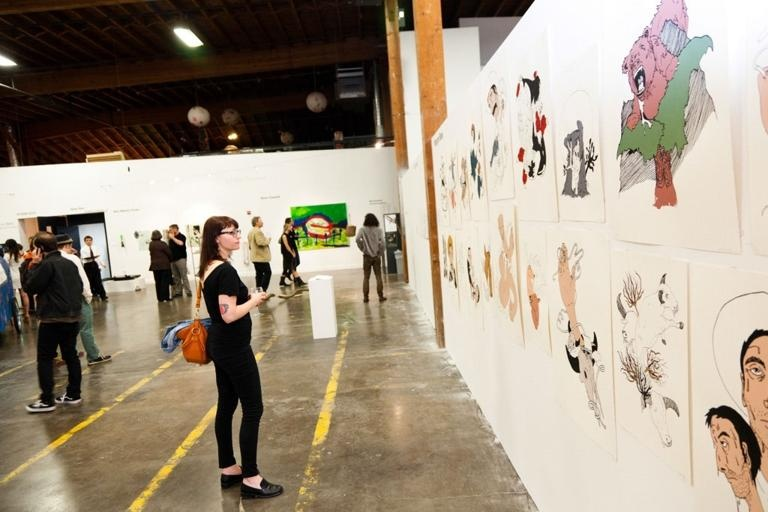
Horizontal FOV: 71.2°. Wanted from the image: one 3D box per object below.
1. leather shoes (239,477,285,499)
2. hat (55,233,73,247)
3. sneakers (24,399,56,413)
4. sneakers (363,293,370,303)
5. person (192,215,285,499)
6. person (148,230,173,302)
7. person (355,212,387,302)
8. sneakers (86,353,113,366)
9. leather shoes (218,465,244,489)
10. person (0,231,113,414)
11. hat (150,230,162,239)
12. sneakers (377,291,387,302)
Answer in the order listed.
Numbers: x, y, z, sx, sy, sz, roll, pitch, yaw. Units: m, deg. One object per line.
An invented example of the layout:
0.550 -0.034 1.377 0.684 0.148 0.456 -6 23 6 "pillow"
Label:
-0.837 1.595 3.697 0.237 0.117 0.130 -1 -2 -12 "leather shoes"
-3.742 -0.189 6.286 0.293 0.138 0.423 1 4 -26 "hat"
-3.470 1.530 5.496 0.317 0.157 0.125 6 -8 -3 "sneakers"
-0.294 0.765 9.719 0.122 0.202 0.116 7 -15 -44 "sneakers"
-0.997 0.687 3.650 0.427 1.929 0.444 -6 5 -22 "person"
-4.821 0.228 11.607 0.426 1.558 0.536 -6 5 -23 "person"
-0.233 -0.002 10.021 0.497 1.576 1.071 -4 5 0 "person"
-3.701 1.349 6.980 0.229 0.104 0.096 -5 9 -22 "sneakers"
-1.082 1.578 3.812 0.097 0.114 0.248 1 2 3 "leather shoes"
-3.478 0.651 5.642 0.596 1.170 0.712 -7 6 -32 "person"
-4.905 -0.441 11.582 0.232 0.267 0.221 -1 3 33 "hat"
-0.002 0.724 9.707 0.090 0.202 0.197 4 15 27 "sneakers"
